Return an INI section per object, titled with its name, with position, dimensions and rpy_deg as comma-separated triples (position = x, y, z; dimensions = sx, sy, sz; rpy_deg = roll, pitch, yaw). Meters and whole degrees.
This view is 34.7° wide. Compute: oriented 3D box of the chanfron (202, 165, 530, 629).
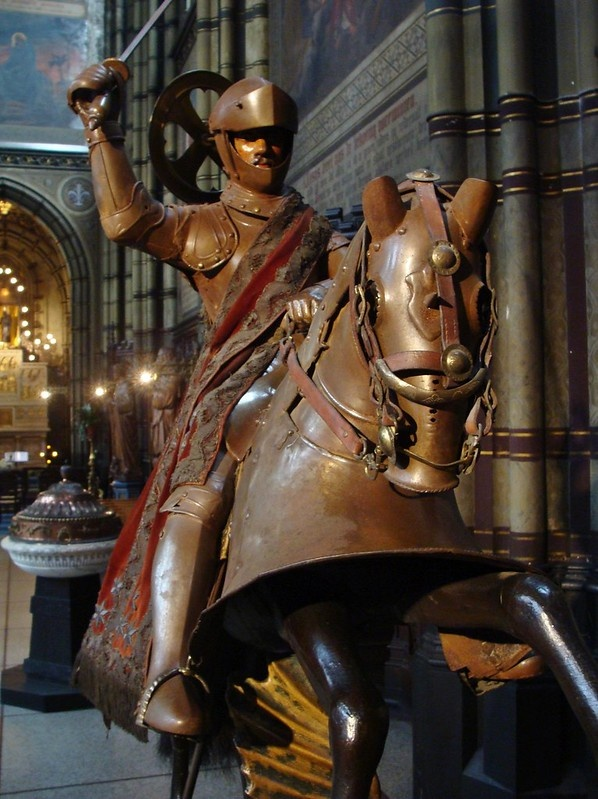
[chanfron]
position = 0.106, 0.001, 1.826
dimensions = 0.544, 0.852, 0.333
rpy_deg = 1, -1, 19
